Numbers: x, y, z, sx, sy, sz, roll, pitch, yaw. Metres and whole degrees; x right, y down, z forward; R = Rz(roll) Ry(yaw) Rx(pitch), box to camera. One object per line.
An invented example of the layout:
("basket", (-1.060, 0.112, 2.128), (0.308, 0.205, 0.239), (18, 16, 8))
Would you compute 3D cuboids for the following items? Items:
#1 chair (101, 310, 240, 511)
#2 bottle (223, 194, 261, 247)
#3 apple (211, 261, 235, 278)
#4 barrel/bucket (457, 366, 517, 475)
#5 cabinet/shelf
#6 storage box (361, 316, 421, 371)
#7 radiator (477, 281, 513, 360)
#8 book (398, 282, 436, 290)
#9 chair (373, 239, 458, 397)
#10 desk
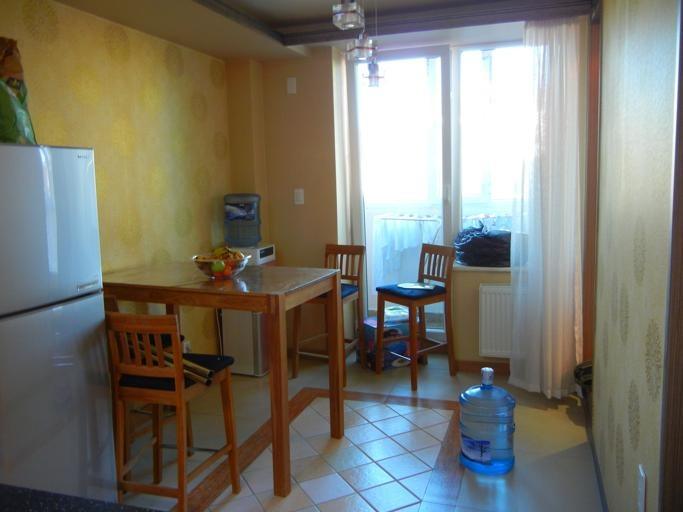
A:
("chair", (-0.976, 0.810, 3.062), (0.696, 1.169, 0.606), (7, 15, 35))
("bottle", (-0.890, -0.311, 4.994), (0.348, 0.525, 0.363), (-5, 7, 1))
("apple", (-0.728, 0.081, 3.385), (0.106, 0.113, 0.108), (17, 1, 12))
("barrel/bucket", (0.911, 1.010, 3.420), (0.327, 0.609, 0.335), (1, -1, 0))
("cabinet/shelf", (1.105, 0.533, 4.696), (0.790, 0.773, 0.203), (0, 4, 22))
("storage box", (0.429, 0.774, 4.918), (0.421, 0.423, 0.324), (-2, 7, -24))
("radiator", (1.378, 0.565, 4.584), (0.432, 0.574, 0.059), (2, -8, 5))
("book", (0.626, 0.255, 4.523), (0.303, 0.014, 0.162), (0, 12, 4))
("chair", (0.631, 0.478, 4.594), (0.633, 1.135, 0.671), (-1, 5, 0))
("desk", (-0.845, 0.709, 3.684), (1.528, 1.144, 0.982), (0, 6, 19))
